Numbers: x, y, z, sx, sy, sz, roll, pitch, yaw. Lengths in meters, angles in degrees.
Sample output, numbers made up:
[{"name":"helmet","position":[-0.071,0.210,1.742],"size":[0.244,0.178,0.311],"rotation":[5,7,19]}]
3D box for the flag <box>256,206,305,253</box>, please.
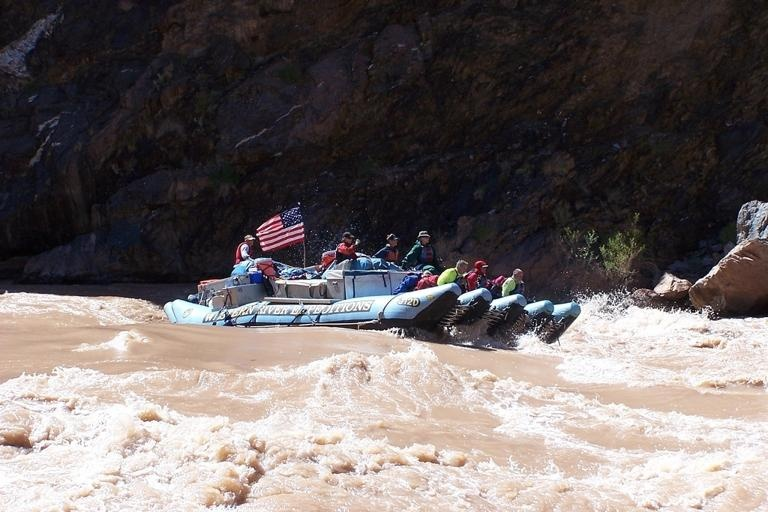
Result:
[{"name":"flag","position":[-2.896,-0.789,37.674],"size":[1.195,1.264,0.611],"rotation":[3,6,-19]}]
